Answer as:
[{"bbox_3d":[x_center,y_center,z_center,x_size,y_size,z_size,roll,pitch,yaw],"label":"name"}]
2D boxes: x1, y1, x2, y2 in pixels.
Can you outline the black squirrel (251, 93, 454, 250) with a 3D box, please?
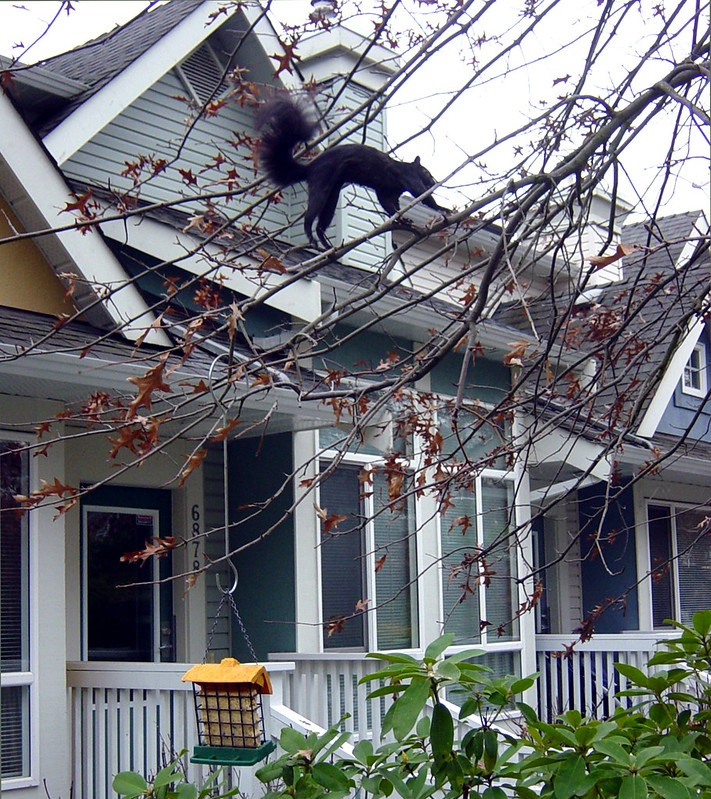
[{"bbox_3d":[-0.013,-0.963,5.793,0.967,0.561,0.188,0,2,-32],"label":"black squirrel"}]
